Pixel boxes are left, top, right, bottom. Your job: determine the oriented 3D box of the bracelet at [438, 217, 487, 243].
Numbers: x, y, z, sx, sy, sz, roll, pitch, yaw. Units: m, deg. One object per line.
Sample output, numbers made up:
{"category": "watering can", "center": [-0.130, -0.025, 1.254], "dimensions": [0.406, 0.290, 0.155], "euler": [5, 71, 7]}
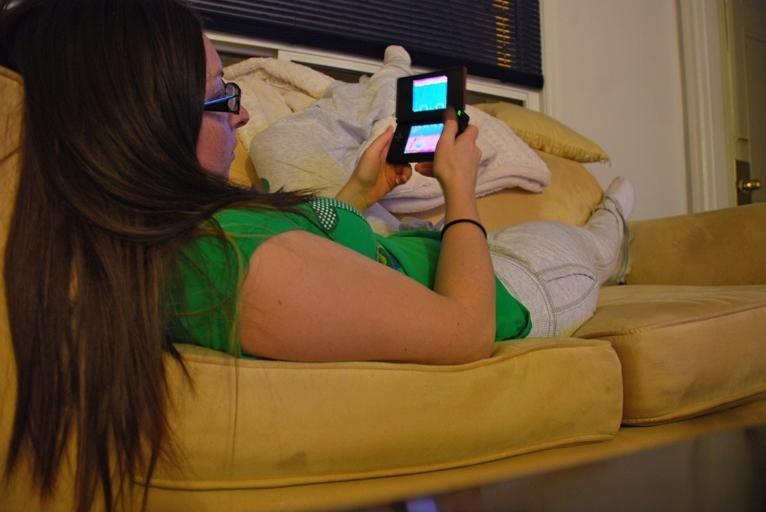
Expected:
{"category": "bracelet", "center": [0.158, -0.051, 1.438], "dimensions": [0.054, 0.014, 0.057], "euler": [1, 50, 4]}
